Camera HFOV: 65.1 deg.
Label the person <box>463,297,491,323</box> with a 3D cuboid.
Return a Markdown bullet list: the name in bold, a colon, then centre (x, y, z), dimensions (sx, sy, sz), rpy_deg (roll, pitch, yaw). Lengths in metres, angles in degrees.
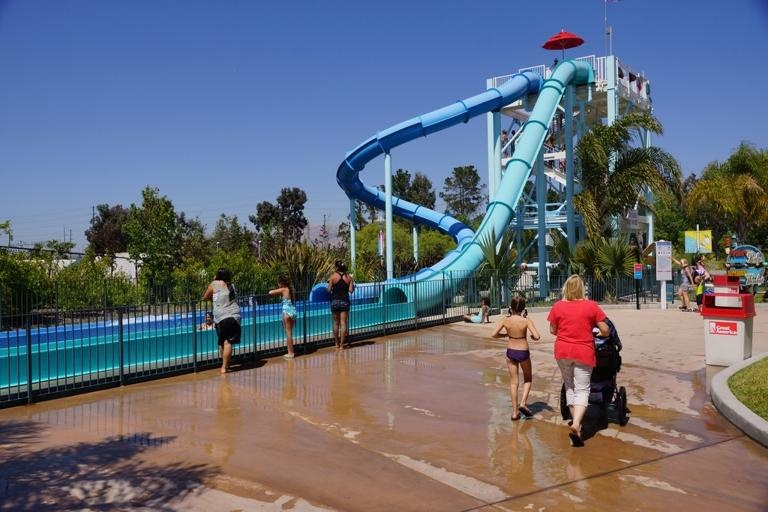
- **person**: centre (3.081, 1.743, 19.238), dimensions (0.791, 1.007, 0.700), rpy_deg (3, -2, 32)

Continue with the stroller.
- **stroller**: centre (3.394, 1.812, 9.491), dimensions (0.903, 1.784, 1.204), rpy_deg (2, 0, 12)

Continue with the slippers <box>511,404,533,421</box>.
- **slippers**: centre (2.184, 2.481, 9.533), dimensions (0.445, 0.208, 0.154), rpy_deg (-5, 4, -32)

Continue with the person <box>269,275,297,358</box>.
- **person**: centre (-2.219, 1.377, 13.476), dimensions (0.442, 1.887, 0.479), rpy_deg (0, 6, 1)

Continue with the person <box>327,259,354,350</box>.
- **person**: centre (-1.025, 1.190, 14.422), dimensions (0.563, 2.159, 0.630), rpy_deg (0, 6, -3)

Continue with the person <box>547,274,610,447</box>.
- **person**: centre (2.929, 1.485, 8.832), dimensions (0.800, 2.357, 0.751), rpy_deg (-1, 6, -15)

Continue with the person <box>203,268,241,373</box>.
- **person**: centre (-3.245, 1.330, 12.154), dimensions (0.648, 2.130, 0.493), rpy_deg (-2, 6, -19)

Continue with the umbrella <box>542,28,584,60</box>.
- **umbrella**: centre (8.476, -10.055, 28.451), dimensions (1.578, 1.326, 3.246), rpy_deg (2, 6, 15)

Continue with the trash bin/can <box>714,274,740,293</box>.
- **trash bin/can**: centre (7.148, 0.589, 12.535), dimensions (0.297, 0.601, 0.302), rpy_deg (-5, -7, 42)
